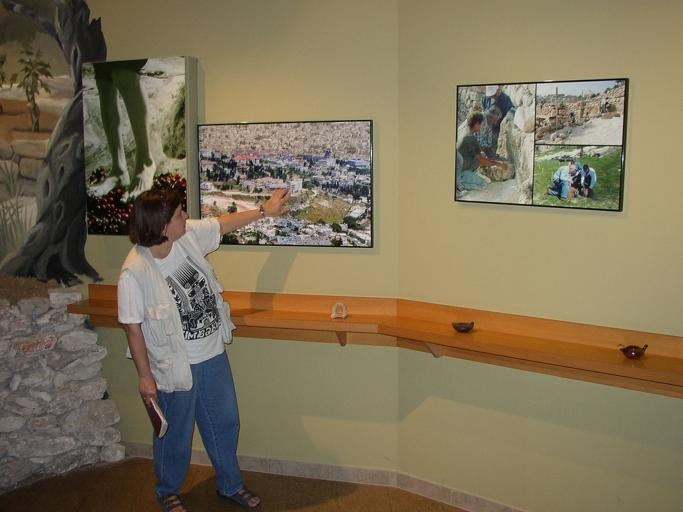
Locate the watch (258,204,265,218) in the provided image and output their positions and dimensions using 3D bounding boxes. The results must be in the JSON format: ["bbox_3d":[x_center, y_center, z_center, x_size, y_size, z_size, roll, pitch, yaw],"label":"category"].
[{"bbox_3d":[-0.485,-0.285,3.010,0.047,0.085,0.062,-9,-6,-16],"label":"watch"}]

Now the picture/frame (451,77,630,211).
[{"bbox_3d":[1.088,-0.609,2.554,0.845,0.613,0.039,10,16,23],"label":"picture/frame"}]

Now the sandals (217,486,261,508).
[{"bbox_3d":[-0.637,1.497,3.075,0.273,0.090,0.111,10,15,24],"label":"sandals"}]
